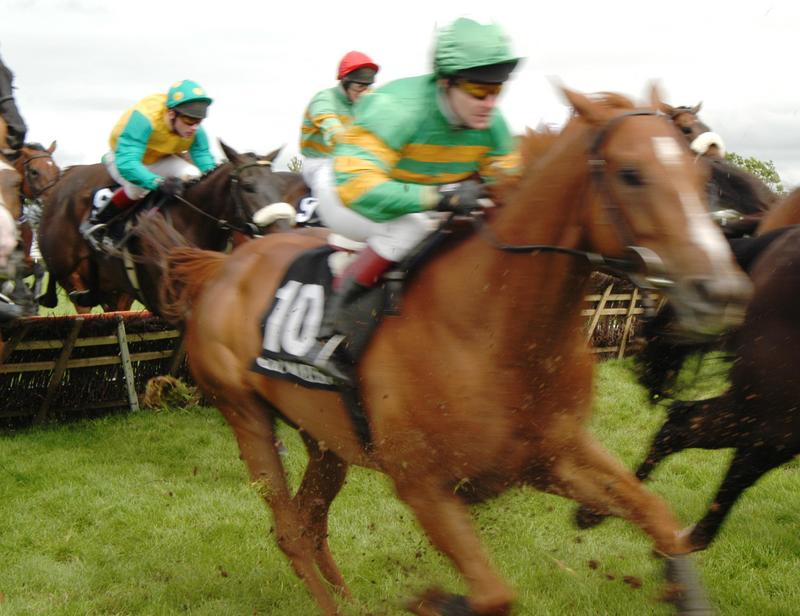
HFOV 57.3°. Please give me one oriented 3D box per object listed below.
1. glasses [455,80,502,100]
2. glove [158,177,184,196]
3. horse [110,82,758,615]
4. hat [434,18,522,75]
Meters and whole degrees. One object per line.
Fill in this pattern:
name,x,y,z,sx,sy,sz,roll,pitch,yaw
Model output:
glasses,0.268,-0.717,2.424,0.100,0.024,0.084,3,7,34
glove,-1.677,-0.903,5.404,0.156,0.058,0.139,9,55,-6
horse,0.147,0.263,2.585,1.796,1.988,0.771,12,22,38
hat,0.252,-0.842,2.382,0.260,0.162,0.125,0,16,5
